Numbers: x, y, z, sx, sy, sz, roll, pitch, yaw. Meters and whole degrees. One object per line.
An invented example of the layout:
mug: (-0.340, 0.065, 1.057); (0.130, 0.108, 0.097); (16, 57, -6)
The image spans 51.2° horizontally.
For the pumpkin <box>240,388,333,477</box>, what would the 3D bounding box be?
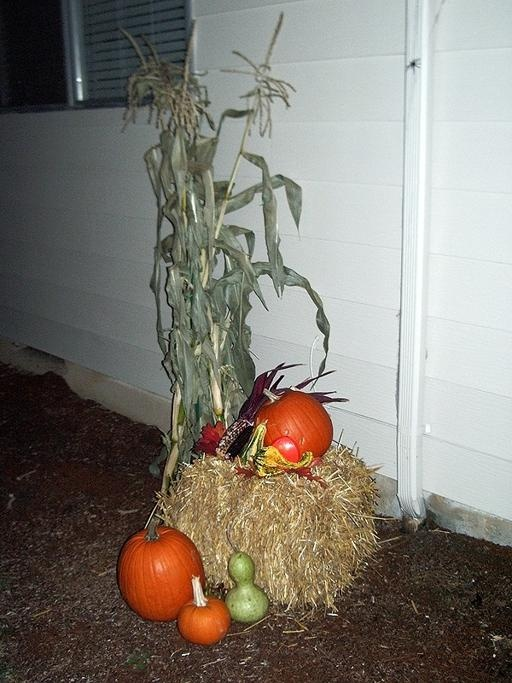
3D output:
pumpkin: (0.098, 0.290, 1.666); (0.229, 0.181, 0.282); (10, 20, 21)

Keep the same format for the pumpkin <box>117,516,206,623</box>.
pumpkin: (-0.288, 0.679, 1.593); (0.236, 0.285, 0.176); (11, 20, 23)
